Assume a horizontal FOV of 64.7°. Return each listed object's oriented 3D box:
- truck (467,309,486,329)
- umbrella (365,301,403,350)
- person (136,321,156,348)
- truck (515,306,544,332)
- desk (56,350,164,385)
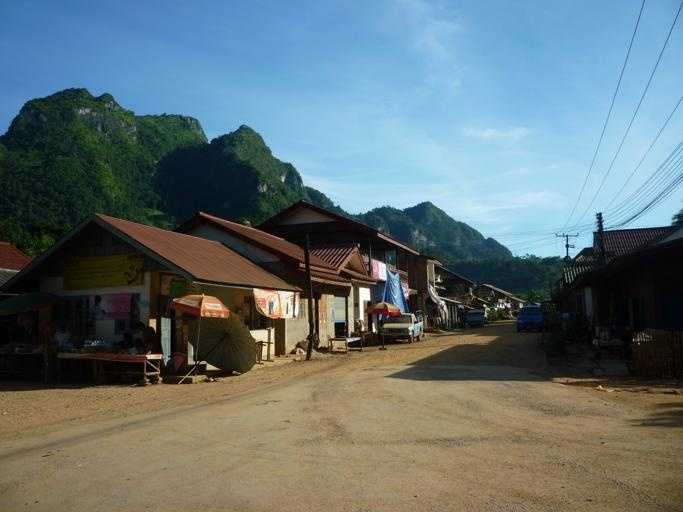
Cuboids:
[{"bbox_3d":[13.465,6.361,53.900,1.180,1.206,2.259,-5,-18,14],"label":"truck"},{"bbox_3d":[2.102,3.925,30.325,2.093,2.728,2.357,-3,-5,27],"label":"umbrella"},{"bbox_3d":[-6.068,2.542,16.881,0.506,0.933,0.793,4,-13,-27],"label":"person"},{"bbox_3d":[14.025,4.864,40.158,1.196,1.428,2.628,-4,-14,19],"label":"truck"},{"bbox_3d":[-7.036,3.524,16.697,3.084,1.123,1.324,-6,-13,17],"label":"desk"}]
